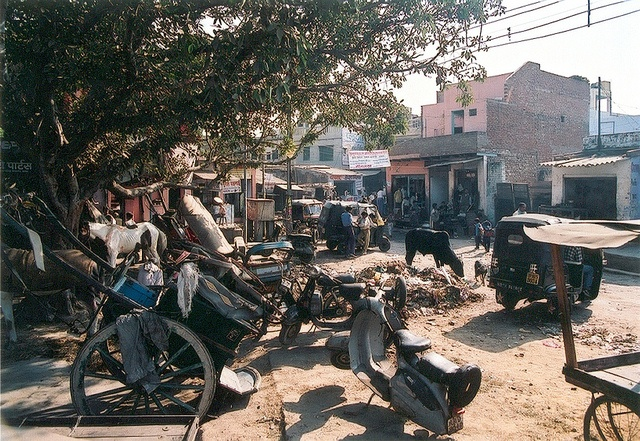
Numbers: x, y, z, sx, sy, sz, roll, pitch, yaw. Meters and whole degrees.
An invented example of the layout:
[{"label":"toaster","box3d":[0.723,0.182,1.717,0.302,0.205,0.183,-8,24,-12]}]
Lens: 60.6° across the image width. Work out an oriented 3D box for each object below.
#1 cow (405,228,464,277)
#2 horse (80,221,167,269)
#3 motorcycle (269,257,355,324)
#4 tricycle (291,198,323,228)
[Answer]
[{"label":"cow","box3d":[2.985,0.797,14.565,1.566,1.141,0.341,8,15,25]},{"label":"horse","box3d":[-4.075,0.574,11.785,1.792,1.223,0.958,-1,14,-9]},{"label":"motorcycle","box3d":[-0.193,1.477,11.257,1.603,1.125,0.976,4,0,-4]},{"label":"tricycle","box3d":[-0.491,-0.279,25.394,2.015,1.198,1.307,4,11,42]}]
